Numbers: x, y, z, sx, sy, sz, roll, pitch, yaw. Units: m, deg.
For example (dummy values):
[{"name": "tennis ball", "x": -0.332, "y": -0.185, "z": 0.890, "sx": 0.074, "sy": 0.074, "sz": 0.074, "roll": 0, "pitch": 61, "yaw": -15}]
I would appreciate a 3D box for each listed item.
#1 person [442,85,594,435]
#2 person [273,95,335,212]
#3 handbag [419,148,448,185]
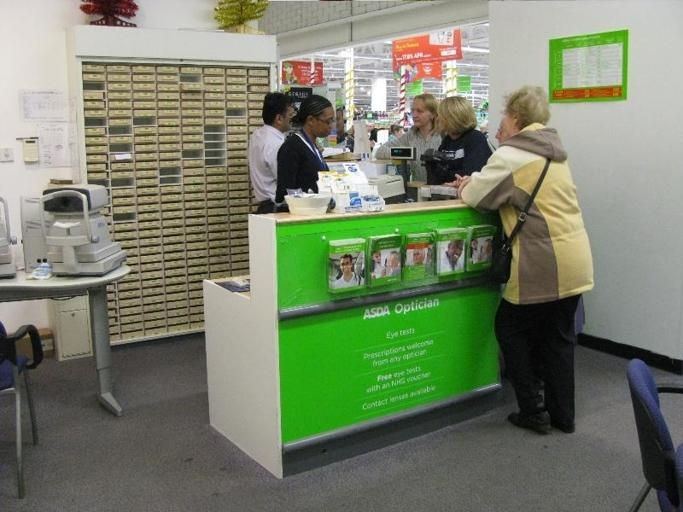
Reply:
[{"name": "person", "x": 1.295, "y": 0.050, "z": 3.692, "sx": 0.763, "sy": 2.321, "sz": 0.426, "roll": 5, "pitch": 14, "yaw": 26}, {"name": "person", "x": -0.313, "y": -0.886, "z": 4.462, "sx": 0.480, "sy": 0.840, "sz": 0.290, "roll": -2, "pitch": 13, "yaw": -5}, {"name": "handbag", "x": 0.841, "y": -0.812, "z": 4.938, "sx": 0.232, "sy": 0.328, "sz": 0.117, "roll": 22, "pitch": 33, "yaw": 37}]
